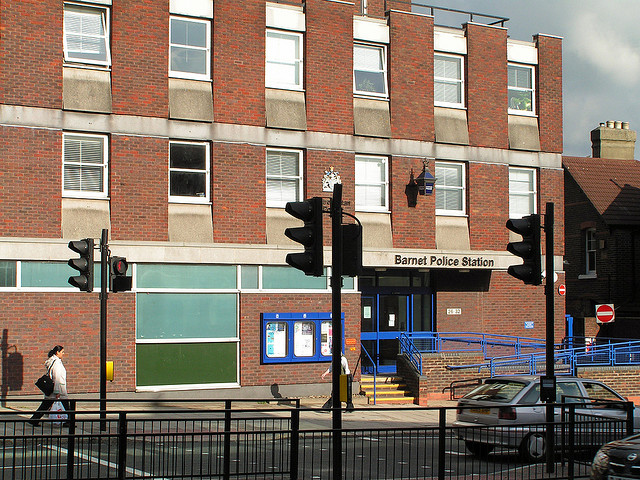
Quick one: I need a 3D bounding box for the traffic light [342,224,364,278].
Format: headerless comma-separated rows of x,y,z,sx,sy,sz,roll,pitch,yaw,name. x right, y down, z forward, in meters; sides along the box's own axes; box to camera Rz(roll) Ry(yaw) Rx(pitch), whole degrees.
0.764,0.202,31.278,0.488,1.142,0.277,-4,-10,14,traffic light

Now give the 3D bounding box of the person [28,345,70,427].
-7.296,3.981,37.836,1.223,2.117,0.842,-3,6,-27,person

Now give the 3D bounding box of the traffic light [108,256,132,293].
-5.354,0.889,36.987,0.563,0.969,0.637,-1,-10,-8,traffic light

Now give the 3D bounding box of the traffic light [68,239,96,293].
-6.273,0.613,36.352,0.673,1.353,0.355,2,-10,-21,traffic light

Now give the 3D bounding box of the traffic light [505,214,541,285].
4.961,0.182,32.738,0.814,1.690,0.447,-3,-9,6,traffic light
